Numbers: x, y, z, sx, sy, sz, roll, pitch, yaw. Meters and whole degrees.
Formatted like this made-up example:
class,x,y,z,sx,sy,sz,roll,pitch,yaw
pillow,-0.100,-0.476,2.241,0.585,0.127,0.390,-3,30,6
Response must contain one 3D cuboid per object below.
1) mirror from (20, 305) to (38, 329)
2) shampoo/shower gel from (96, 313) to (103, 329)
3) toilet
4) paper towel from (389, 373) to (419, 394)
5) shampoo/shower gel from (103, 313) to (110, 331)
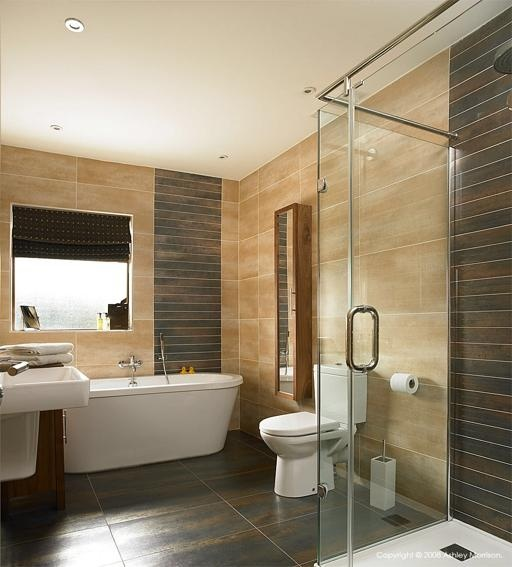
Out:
class,x,y,z,sx,sy,sz,roll,pitch,yaw
mirror,-1.892,0.286,4.033,0.025,0.232,0.190,-27,-26,38
shampoo/shower gel,-1.404,0.339,4.378,0.056,0.154,0.089,1,-4,-28
toilet,0.309,0.928,3.075,0.644,0.720,0.491,0,-5,-21
paper towel,0.508,0.337,1.667,0.068,0.068,0.083,2,-9,-31
shampoo/shower gel,-1.354,0.346,4.396,0.058,0.145,0.082,1,-4,-17
